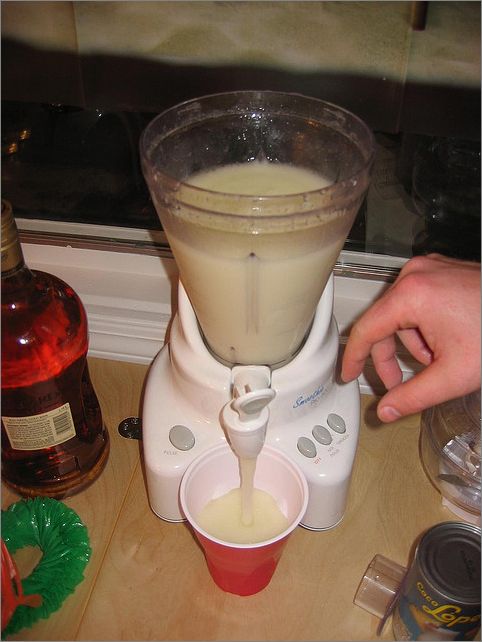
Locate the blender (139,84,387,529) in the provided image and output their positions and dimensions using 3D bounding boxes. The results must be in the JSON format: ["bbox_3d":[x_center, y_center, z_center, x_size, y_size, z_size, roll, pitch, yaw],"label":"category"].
[{"bbox_3d":[0.011,0.018,0.523,0.236,0.405,0.236,-6,39,-7],"label":"blender"}]
